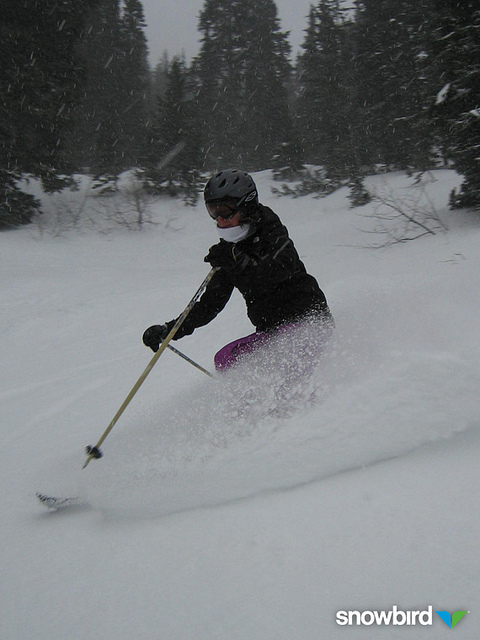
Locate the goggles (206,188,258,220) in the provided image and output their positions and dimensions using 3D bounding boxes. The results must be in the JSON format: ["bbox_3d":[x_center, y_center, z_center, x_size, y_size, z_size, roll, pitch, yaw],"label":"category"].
[{"bbox_3d":[-0.038,-0.708,4.244,0.257,0.113,0.197,-27,23,-22],"label":"goggles"}]

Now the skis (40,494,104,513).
[{"bbox_3d":[-0.874,0.958,3.670,0.297,0.081,0.079,2,37,-1],"label":"skis"}]

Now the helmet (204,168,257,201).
[{"bbox_3d":[-0.056,-0.832,4.223,0.200,0.150,0.269,15,37,40],"label":"helmet"}]
